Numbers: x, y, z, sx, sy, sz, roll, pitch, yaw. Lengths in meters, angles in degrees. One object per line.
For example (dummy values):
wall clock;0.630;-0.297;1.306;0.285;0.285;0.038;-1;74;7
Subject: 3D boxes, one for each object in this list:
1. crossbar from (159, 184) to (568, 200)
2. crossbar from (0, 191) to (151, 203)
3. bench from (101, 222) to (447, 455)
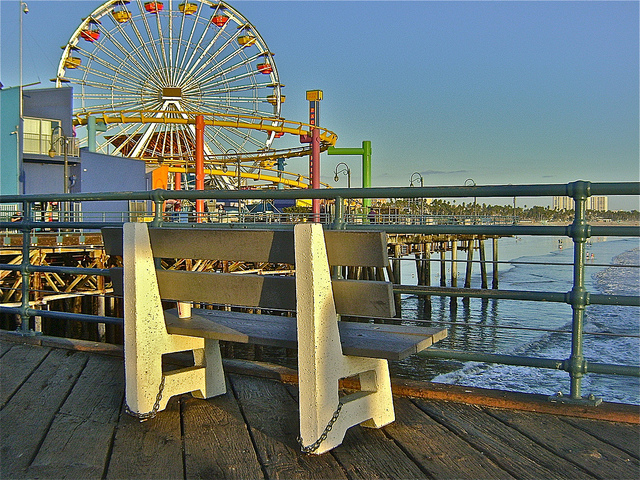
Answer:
crossbar;0.209;-0.291;3.358;2.467;0.084;0.470;2;8;24
crossbar;-1.942;-0.353;4.404;1.861;0.101;0.580;3;8;31
bench;-0.389;0.507;3.137;2.032;1.063;0.852;-2;-4;35
